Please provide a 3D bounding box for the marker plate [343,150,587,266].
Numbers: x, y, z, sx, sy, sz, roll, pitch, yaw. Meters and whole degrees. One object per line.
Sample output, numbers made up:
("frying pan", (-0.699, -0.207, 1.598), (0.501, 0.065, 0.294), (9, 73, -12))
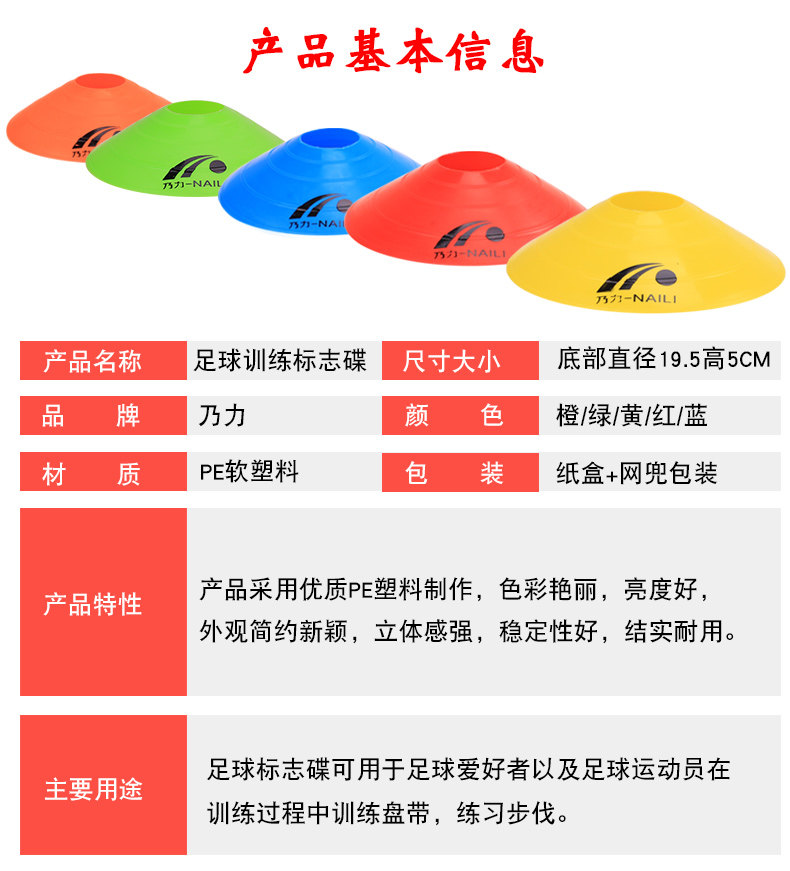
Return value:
("marker plate", (0.367, -1.213, 5.699), (1.133, 0.223, 0.988), (-1, 0, -2))
